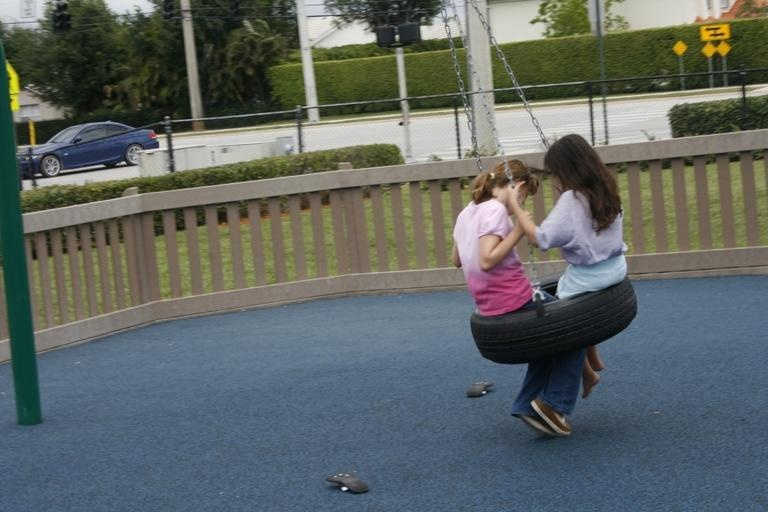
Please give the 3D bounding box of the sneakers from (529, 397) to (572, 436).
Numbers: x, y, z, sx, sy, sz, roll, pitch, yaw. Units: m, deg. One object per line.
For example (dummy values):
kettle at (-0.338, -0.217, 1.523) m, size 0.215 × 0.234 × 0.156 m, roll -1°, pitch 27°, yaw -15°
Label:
sneakers at (1.711, 1.647, 13.982) m, size 0.230 × 0.578 × 0.205 m, roll -53°, pitch 11°, yaw 9°

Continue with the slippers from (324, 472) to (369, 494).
slippers at (-0.359, 2.244, 13.533) m, size 0.305 × 0.074 × 0.206 m, roll 1°, pitch 8°, yaw 37°

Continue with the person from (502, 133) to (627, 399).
person at (1.907, -0.390, 13.783) m, size 0.966 × 1.609 × 0.448 m, roll -8°, pitch 13°, yaw 4°

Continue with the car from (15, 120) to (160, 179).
car at (-7.194, -2.638, 33.631) m, size 3.227 × 1.141 × 0.834 m, roll -14°, pitch 13°, yaw -36°
